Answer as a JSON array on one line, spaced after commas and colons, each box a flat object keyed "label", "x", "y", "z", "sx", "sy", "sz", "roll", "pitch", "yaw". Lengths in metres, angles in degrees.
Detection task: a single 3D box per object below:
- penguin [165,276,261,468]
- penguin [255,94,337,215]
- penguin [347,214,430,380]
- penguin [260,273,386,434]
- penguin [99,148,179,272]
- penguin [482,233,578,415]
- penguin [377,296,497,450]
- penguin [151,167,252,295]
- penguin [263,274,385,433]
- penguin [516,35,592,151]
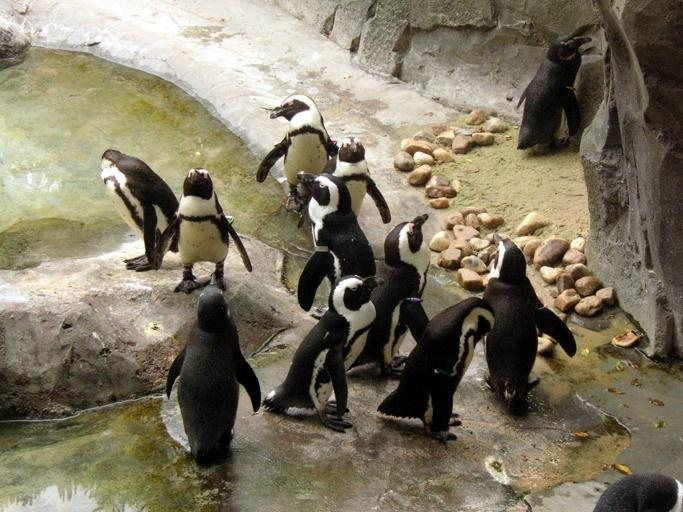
[{"label": "penguin", "x": -0.961, "y": 0.804, "z": 5.146, "sx": 0.585, "sy": 1.145, "sz": 0.569, "roll": 20, "pitch": 25, "yaw": 31}, {"label": "penguin", "x": -0.438, "y": -1.173, "z": 7.905, "sx": 0.862, "sy": 1.190, "sz": 0.672, "roll": -3, "pitch": 22, "yaw": 3}, {"label": "penguin", "x": 0.456, "y": 0.309, "z": 5.937, "sx": 0.690, "sy": 1.197, "sz": 0.738, "roll": 0, "pitch": 20, "yaw": 6}, {"label": "penguin", "x": -0.129, "y": 0.685, "z": 5.500, "sx": 0.847, "sy": 1.095, "sz": 0.702, "roll": 0, "pitch": 20, "yaw": -12}, {"label": "penguin", "x": -1.827, "y": -0.537, "z": 6.560, "sx": 0.692, "sy": 1.128, "sz": 0.648, "roll": -6, "pitch": 21, "yaw": -11}, {"label": "penguin", "x": 1.387, "y": 0.516, "z": 5.831, "sx": 0.866, "sy": 1.189, "sz": 0.752, "roll": 12, "pitch": 36, "yaw": 31}, {"label": "penguin", "x": 0.696, "y": 0.784, "z": 5.356, "sx": 0.717, "sy": 1.035, "sz": 0.370, "roll": 10, "pitch": 17, "yaw": 9}, {"label": "penguin", "x": -1.213, "y": -0.235, "z": 6.286, "sx": 0.845, "sy": 1.068, "sz": 0.322, "roll": 5, "pitch": 17, "yaw": -8}, {"label": "penguin", "x": -0.040, "y": 0.698, "z": 5.567, "sx": 0.854, "sy": 1.112, "sz": 0.974, "roll": 0, "pitch": 17, "yaw": 12}, {"label": "penguin", "x": 2.419, "y": -1.824, "z": 8.251, "sx": 0.669, "sy": 1.327, "sz": 0.361, "roll": 13, "pitch": 18, "yaw": 18}]
